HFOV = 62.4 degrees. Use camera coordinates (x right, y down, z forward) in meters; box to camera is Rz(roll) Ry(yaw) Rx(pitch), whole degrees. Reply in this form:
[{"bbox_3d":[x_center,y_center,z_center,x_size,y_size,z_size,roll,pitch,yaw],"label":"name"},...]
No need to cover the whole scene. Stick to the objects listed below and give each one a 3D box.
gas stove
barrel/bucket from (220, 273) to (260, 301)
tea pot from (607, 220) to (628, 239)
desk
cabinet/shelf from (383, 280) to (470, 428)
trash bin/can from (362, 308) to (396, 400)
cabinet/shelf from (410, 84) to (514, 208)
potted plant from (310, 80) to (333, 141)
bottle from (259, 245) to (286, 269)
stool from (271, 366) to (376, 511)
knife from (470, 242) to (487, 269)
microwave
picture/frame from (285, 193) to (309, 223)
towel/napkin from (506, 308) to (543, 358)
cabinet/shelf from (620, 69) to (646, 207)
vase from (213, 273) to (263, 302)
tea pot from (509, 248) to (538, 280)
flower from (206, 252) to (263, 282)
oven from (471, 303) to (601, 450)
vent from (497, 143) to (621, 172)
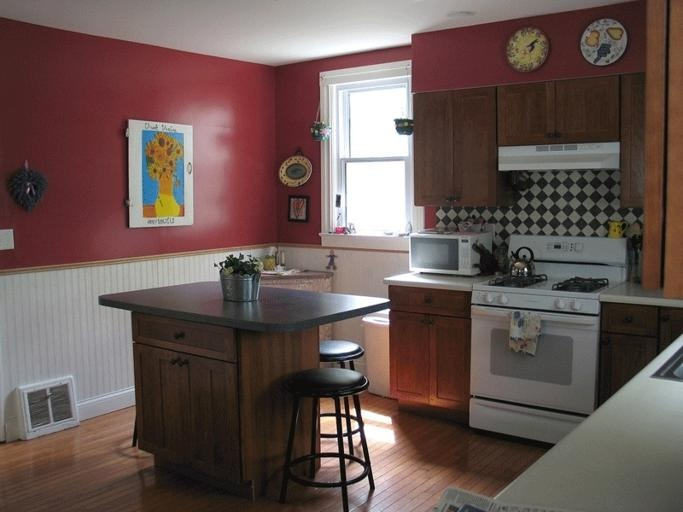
[{"bbox_3d":[1.568,0.307,4.226,0.890,0.298,0.806,2,5,41],"label":"gas stove"},{"bbox_3d":[-0.633,0.189,3.587,0.189,0.125,0.186,0,4,0],"label":"barrel/bucket"},{"bbox_3d":[2.077,-0.201,4.246,0.125,0.129,0.179,3,8,26],"label":"tea pot"},{"bbox_3d":[-0.777,0.801,3.837,1.551,1.134,0.953,4,10,30],"label":"desk"},{"bbox_3d":[0.673,0.867,4.696,0.896,1.133,0.924,-7,-27,22],"label":"cabinet/shelf"},{"bbox_3d":[0.363,0.881,5.184,0.378,0.658,0.432,-13,-14,24],"label":"trash bin/can"},{"bbox_3d":[1.016,-0.898,4.560,0.923,1.245,0.579,2,4,38],"label":"cabinet/shelf"},{"bbox_3d":[-0.187,-1.355,5.609,0.196,0.416,0.381,-1,7,-1],"label":"potted plant"},{"bbox_3d":[-0.702,0.024,5.921,0.189,0.351,0.332,0,-2,33],"label":"bottle"},{"bbox_3d":[-0.070,1.051,3.532,0.572,0.811,0.832,0,7,6],"label":"stool"},{"bbox_3d":[1.131,0.012,4.507,0.098,0.246,0.180,4,9,37],"label":"knife"},{"bbox_3d":[0.887,-0.141,4.600,0.516,0.353,0.387,5,8,40],"label":"microwave"},{"bbox_3d":[-0.448,-0.516,5.960,0.296,0.321,0.022,3,4,39],"label":"picture/frame"},{"bbox_3d":[1.289,0.530,3.931,0.312,0.380,0.050,6,8,38],"label":"towel/napkin"},{"bbox_3d":[2.060,-0.818,3.991,0.167,0.935,0.085,2,7,20],"label":"cabinet/shelf"},{"bbox_3d":[-0.629,0.192,3.608,0.189,0.127,0.191,0,1,15],"label":"vase"},{"bbox_3d":[1.440,0.055,4.350,0.259,0.288,0.174,0,1,30],"label":"tea pot"},{"bbox_3d":[-0.625,0.068,3.701,0.305,0.186,0.300,2,4,7],"label":"flower"},{"bbox_3d":[1.452,0.776,4.236,0.904,1.052,0.750,3,5,21],"label":"oven"},{"bbox_3d":[1.609,-0.743,4.212,0.867,0.190,0.102,4,8,33],"label":"vent"}]
